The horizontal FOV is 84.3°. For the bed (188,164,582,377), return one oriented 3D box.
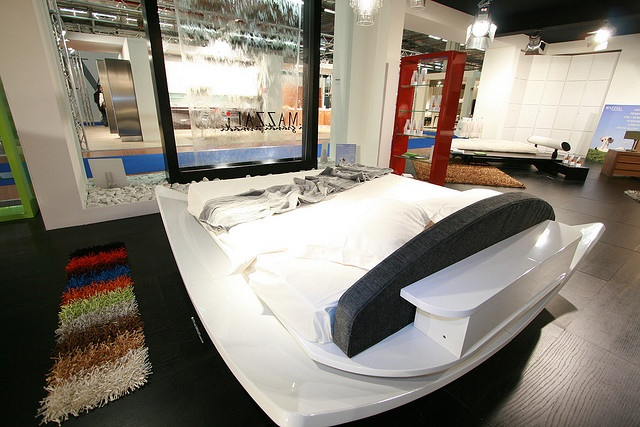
[{"bbox_3d":[0.327,0.390,2.773,1.877,0.565,2.091,-15,30,-26],"label":"bed"}]

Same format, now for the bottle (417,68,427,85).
[{"bbox_3d":[1.577,-2.108,5.471,0.136,0.224,0.104,6,20,18],"label":"bottle"}]

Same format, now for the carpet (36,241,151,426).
[{"bbox_3d":[-1.966,1.040,3.090,0.779,0.623,1.369,-10,21,-29],"label":"carpet"}]

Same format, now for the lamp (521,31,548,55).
[{"bbox_3d":[4.239,-3.360,6.955,0.290,0.393,0.602,10,20,27],"label":"lamp"}]

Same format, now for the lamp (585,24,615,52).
[{"bbox_3d":[5.204,-3.285,6.621,0.344,0.373,0.657,12,21,31],"label":"lamp"}]

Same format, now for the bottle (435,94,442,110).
[{"bbox_3d":[1.773,-1.651,5.307,0.076,0.225,0.175,-2,19,-5],"label":"bottle"}]
